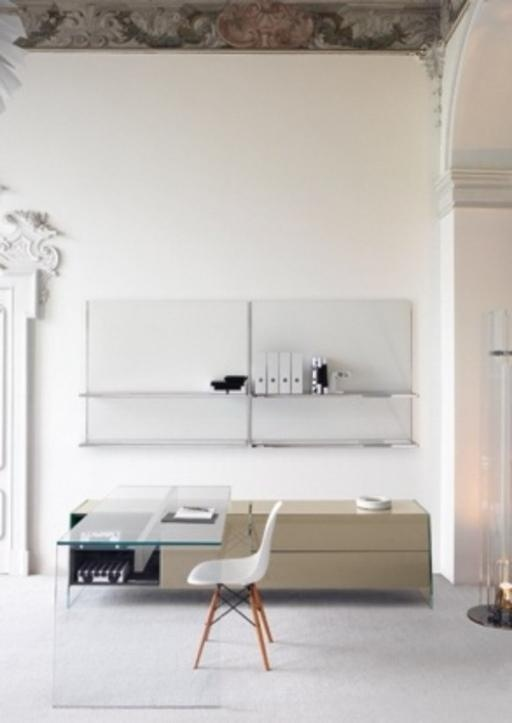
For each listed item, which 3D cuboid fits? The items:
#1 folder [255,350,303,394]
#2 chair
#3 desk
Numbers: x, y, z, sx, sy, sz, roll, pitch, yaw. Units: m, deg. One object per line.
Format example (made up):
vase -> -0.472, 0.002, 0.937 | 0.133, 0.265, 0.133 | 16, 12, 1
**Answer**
folder -> 0.150, 0.083, 4.741 | 0.331, 0.269, 0.112 | 0, 5, -3
chair -> -0.119, 1.108, 3.616 | 0.434, 0.706, 0.403 | 1, -6, 0
desk -> -0.540, 1.126, 3.558 | 0.853, 0.752, 0.943 | -1, 4, -8
